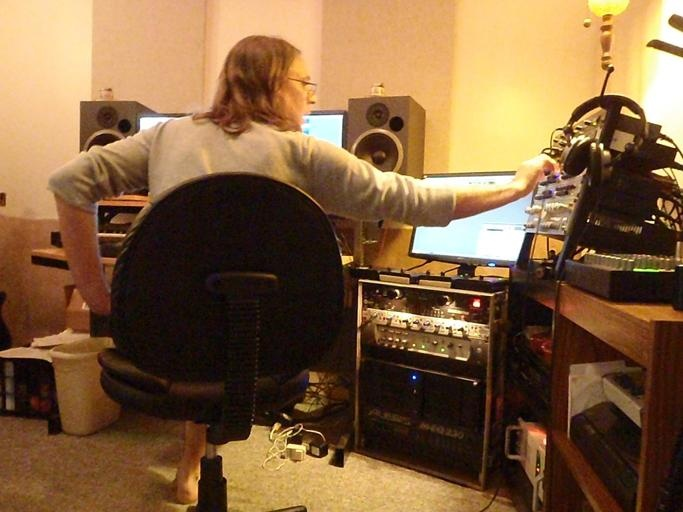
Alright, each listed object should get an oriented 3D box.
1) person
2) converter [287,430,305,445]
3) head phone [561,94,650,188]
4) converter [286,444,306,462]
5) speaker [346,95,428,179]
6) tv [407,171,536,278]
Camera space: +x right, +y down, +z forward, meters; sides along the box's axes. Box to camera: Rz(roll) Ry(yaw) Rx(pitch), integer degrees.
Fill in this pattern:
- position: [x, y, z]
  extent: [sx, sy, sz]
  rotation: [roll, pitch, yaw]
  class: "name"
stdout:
- position: [-0.242, 0.000, 2.118]
  extent: [1.396, 1.460, 1.033]
  rotation: [15, 15, 32]
  class: "person"
- position: [-0.214, 0.832, 2.745]
  extent: [0.044, 0.080, 0.049]
  rotation: [0, 8, 17]
  class: "converter"
- position: [0.776, -0.372, 1.901]
  extent: [0.232, 0.273, 0.344]
  rotation: [-5, 15, -21]
  class: "head phone"
- position: [-0.199, 0.850, 2.591]
  extent: [0.086, 0.059, 0.060]
  rotation: [4, 8, 22]
  class: "converter"
- position: [0.203, -0.560, 3.044]
  extent: [0.389, 0.415, 0.385]
  rotation: [2, 1, 36]
  class: "speaker"
- position: [0.523, -0.122, 2.343]
  extent: [0.491, 0.415, 0.100]
  rotation: [1, -18, 37]
  class: "tv"
